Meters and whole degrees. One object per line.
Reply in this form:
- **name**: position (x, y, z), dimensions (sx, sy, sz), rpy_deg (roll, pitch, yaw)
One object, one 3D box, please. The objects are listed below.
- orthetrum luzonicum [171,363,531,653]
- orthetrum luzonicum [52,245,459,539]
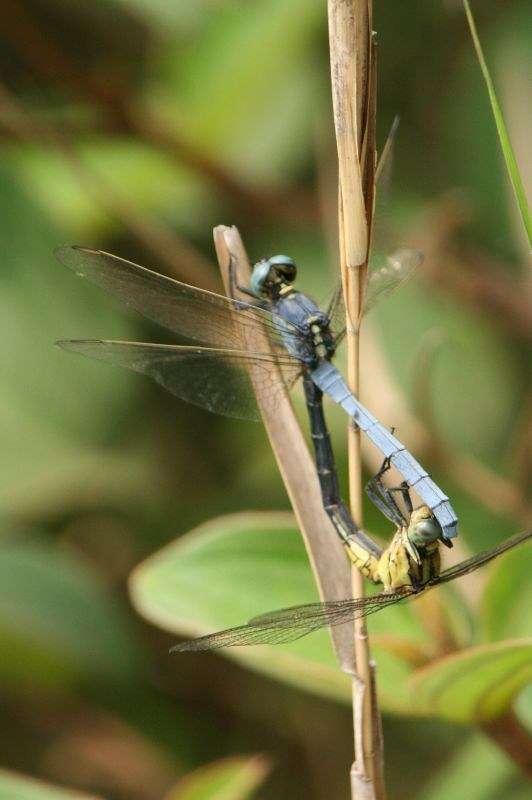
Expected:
- **orthetrum luzonicum**: position (0.070, 0.114, 0.788), dimensions (0.325, 0.138, 0.108), rpy_deg (-18, 8, -43)
- **orthetrum luzonicum**: position (-0.005, -0.050, 0.794), dimensions (0.342, 0.117, 0.278), rpy_deg (-28, -78, 13)
